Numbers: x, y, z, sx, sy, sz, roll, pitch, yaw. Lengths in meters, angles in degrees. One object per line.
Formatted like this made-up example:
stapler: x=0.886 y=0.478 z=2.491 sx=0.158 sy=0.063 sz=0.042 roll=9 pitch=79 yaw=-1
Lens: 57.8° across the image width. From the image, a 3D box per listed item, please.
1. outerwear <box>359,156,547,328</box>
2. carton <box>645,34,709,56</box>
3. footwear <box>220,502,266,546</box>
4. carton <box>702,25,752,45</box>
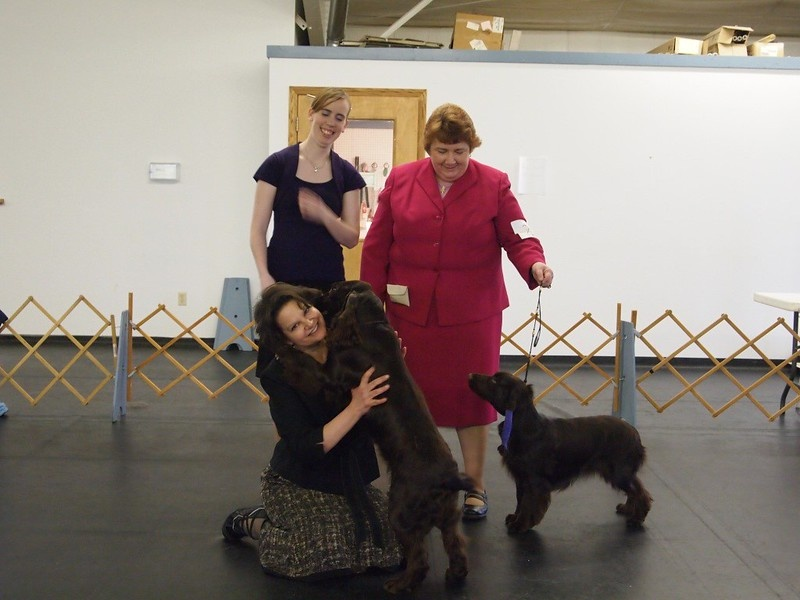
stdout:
outerwear: x=0.254 y=-0.289 z=4.539 sx=1.364 sy=1.251 sz=0.849 roll=1 pitch=5 yaw=1
carton: x=2.976 y=-2.746 z=7.924 sx=0.415 sy=0.212 sz=0.473 roll=-15 pitch=20 yaw=-39
footwear: x=-0.869 y=1.264 z=4.010 sx=0.272 sy=0.173 sz=0.111 roll=-12 pitch=-15 yaw=39
carton: x=3.482 y=-2.831 z=7.763 sx=0.424 sy=0.197 sz=0.269 roll=8 pitch=16 yaw=25
